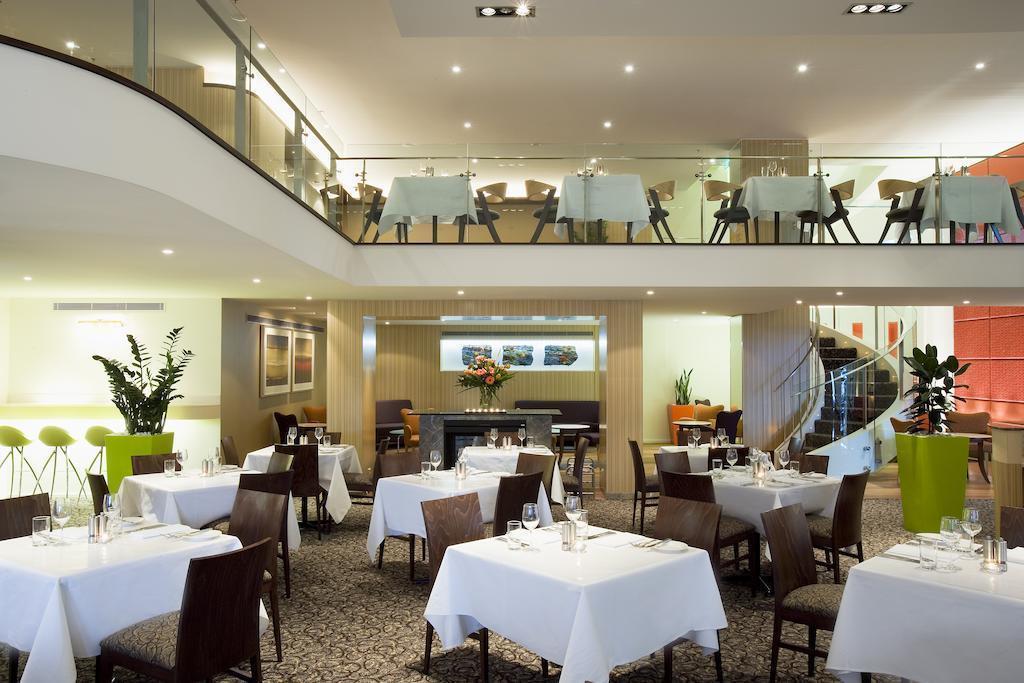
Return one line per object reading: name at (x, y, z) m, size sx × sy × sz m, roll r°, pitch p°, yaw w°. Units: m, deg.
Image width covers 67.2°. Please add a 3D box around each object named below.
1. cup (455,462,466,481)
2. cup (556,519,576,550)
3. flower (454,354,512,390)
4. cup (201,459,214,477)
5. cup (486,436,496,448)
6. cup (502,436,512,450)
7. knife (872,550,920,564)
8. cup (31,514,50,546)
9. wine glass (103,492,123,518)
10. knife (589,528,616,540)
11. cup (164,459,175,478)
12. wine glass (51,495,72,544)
cup at (-0.533, 1.355, 8.100) m, size 0.113 × 0.153 × 0.147 m, roll 0°, pitch -7°, yaw 0°
cup at (0.439, 1.492, 5.977) m, size 0.124 × 0.222 × 0.133 m, roll -2°, pitch 0°, yaw 0°
flower at (-0.396, 0.499, 11.499) m, size 0.650 × 0.612 × 0.680 m, roll -3°, pitch -4°, yaw 27°
cup at (-3.246, 1.339, 8.208) m, size 0.135 × 0.167 × 0.136 m, roll 0°, pitch 2°, yaw 0°
cup at (-0.272, 1.274, 9.808) m, size 0.130 × 0.222 × 0.134 m, roll 2°, pitch -3°, yaw 0°
cup at (-0.052, 1.289, 9.876) m, size 0.114 × 0.170 × 0.118 m, roll 0°, pitch 2°, yaw 0°
knife at (2.910, 1.614, 5.792) m, size 0.303 × 0.063 × 0.128 m, roll -3°, pitch -1°, yaw 29°
cup at (-3.694, 1.467, 6.020) m, size 0.118 × 0.242 × 0.155 m, roll -2°, pitch 0°, yaw -33°
wine glass at (-3.258, 1.330, 6.233) m, size 0.113 × 0.199 × 0.175 m, roll -2°, pitch 0°, yaw -33°
knife at (0.736, 1.545, 6.238) m, size 0.252 × 0.049 × 0.076 m, roll -2°, pitch 14°, yaw -23°
cup at (-3.680, 1.354, 8.237) m, size 0.140 × 0.227 × 0.131 m, roll -1°, pitch -9°, yaw 0°
wine glass at (-3.613, 1.385, 6.141) m, size 0.132 × 0.362 × 0.286 m, roll -2°, pitch 0°, yaw -32°
